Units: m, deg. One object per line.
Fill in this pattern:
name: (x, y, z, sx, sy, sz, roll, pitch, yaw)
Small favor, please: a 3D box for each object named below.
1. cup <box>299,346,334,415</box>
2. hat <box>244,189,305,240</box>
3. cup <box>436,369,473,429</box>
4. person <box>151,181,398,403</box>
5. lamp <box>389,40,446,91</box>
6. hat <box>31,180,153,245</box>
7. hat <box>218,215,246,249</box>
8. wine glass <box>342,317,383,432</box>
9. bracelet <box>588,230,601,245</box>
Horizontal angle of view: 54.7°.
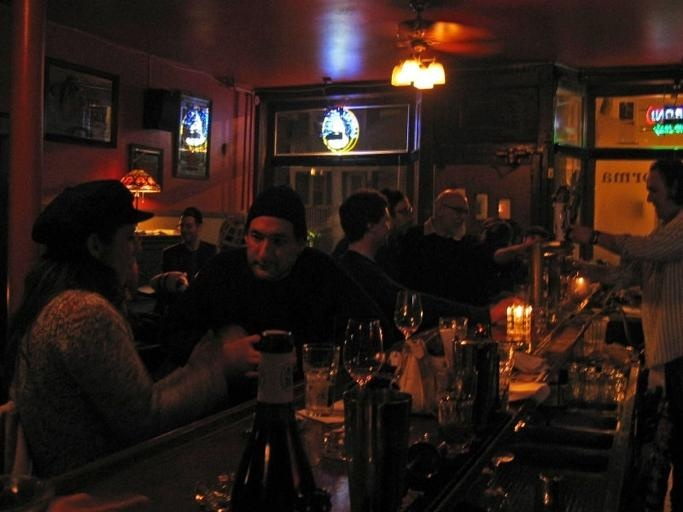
cup: (-0.067, 0.381, 2.061, 0.101, 0.216, 0.126, 1, 4, -2)
hat: (-0.271, -0.201, 2.802, 0.216, 0.191, 0.237, 10, -21, 2)
cup: (0.340, 0.423, 1.956, 0.098, 0.175, 0.058, 2, 4, 16)
person: (-0.261, 0.168, 2.917, 1.071, 0.838, 0.672, 4, 2, 7)
lamp: (0.636, -1.571, 5.581, 0.501, 0.338, 0.500, 0, 2, -2)
hat: (-0.802, -0.103, 2.112, 0.284, 0.111, 0.202, -25, 18, -32)
hat: (-1.190, -0.250, 7.152, 0.260, 0.376, 0.376, 4, -20, -3)
wine glass: (0.063, 0.308, 2.003, 0.112, 0.223, 0.221, 2, 4, 9)
bracelet: (1.537, -0.112, 4.003, 0.067, 0.102, 0.095, 5, -6, 21)
